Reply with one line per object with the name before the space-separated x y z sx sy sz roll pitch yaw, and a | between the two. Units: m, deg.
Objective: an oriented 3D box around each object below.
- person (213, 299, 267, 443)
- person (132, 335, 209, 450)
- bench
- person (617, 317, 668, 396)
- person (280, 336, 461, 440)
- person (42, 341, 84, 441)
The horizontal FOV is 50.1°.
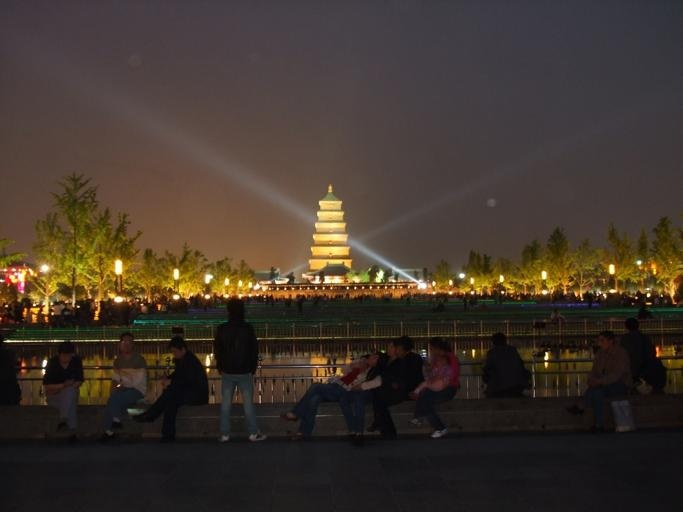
person | -1.788 1.967 12.626 0.778 2.511 0.570 -1 -1 -8
person | -2.927 2.326 12.903 1.109 1.832 0.688 -1 -1 -15
bench | 0.053 2.872 13.040 10.376 0.543 0.710 -1 -2 -2
person | 5.785 1.800 14.092 0.659 0.608 1.540 -17 -52 22
person | 0.722 2.311 12.865 2.805 1.198 0.759 -1 -1 -16
person | -4.881 2.383 13.011 0.760 1.601 0.546 -2 -1 30
